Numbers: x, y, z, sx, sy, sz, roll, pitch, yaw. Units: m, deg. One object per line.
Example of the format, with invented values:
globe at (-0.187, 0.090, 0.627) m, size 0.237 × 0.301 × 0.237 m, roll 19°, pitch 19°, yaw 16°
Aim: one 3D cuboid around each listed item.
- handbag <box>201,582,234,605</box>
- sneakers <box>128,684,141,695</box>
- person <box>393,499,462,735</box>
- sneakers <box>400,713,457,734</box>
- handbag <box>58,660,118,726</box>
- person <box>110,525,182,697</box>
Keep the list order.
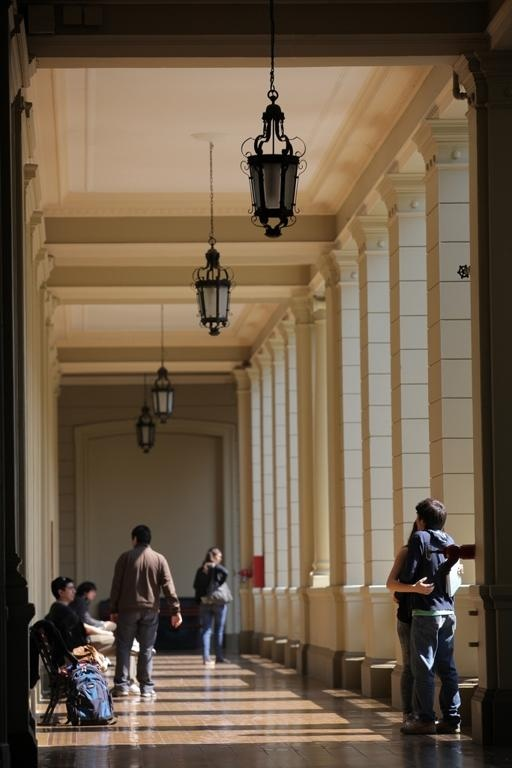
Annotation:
handbag at (-0.516, 2.802, 14.874) m, size 0.404 × 0.435 × 0.235 m, roll 0°, pitch -17°, yaw 2°
sneakers at (-1.104, 2.765, 10.328) m, size 0.060 × 0.065 × 0.136 m, roll 4°, pitch -11°, yaw -23°
person at (1.000, 1.392, 6.877) m, size 0.399 × 1.396 × 0.455 m, roll -2°, pitch -9°, yaw 7°
sneakers at (1.022, 2.063, 6.866) m, size 0.315 × 0.154 × 0.123 m, roll 5°, pitch -5°, yaw -4°
handbag at (-1.198, 2.180, 8.015) m, size 0.305 × 0.458 × 0.439 m, roll 1°, pitch -13°, yaw -15°
person at (-0.994, 2.011, 10.180) m, size 0.588 × 1.504 × 0.450 m, roll 0°, pitch -9°, yaw -8°
